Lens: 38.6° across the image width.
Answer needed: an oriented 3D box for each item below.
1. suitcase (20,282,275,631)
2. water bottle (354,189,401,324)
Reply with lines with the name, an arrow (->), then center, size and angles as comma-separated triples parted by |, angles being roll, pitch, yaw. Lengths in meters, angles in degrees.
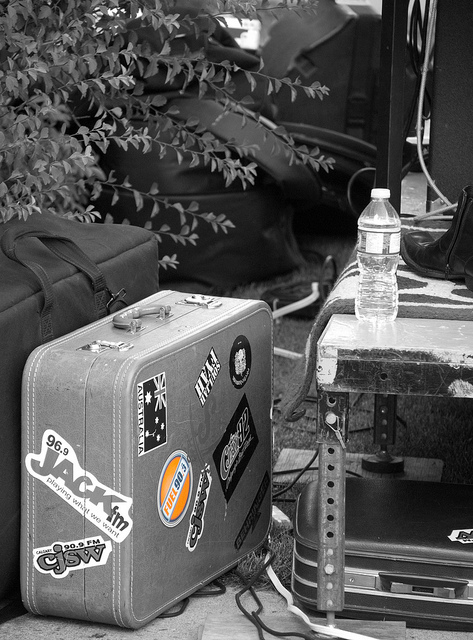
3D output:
suitcase -> -0.190, 0.283, 1.338 | 0.255, 0.698, 0.677 | 4, 0, 8
water bottle -> 0.280, -0.132, 1.328 | 0.083, 0.256, 0.080 | 0, 14, 0
